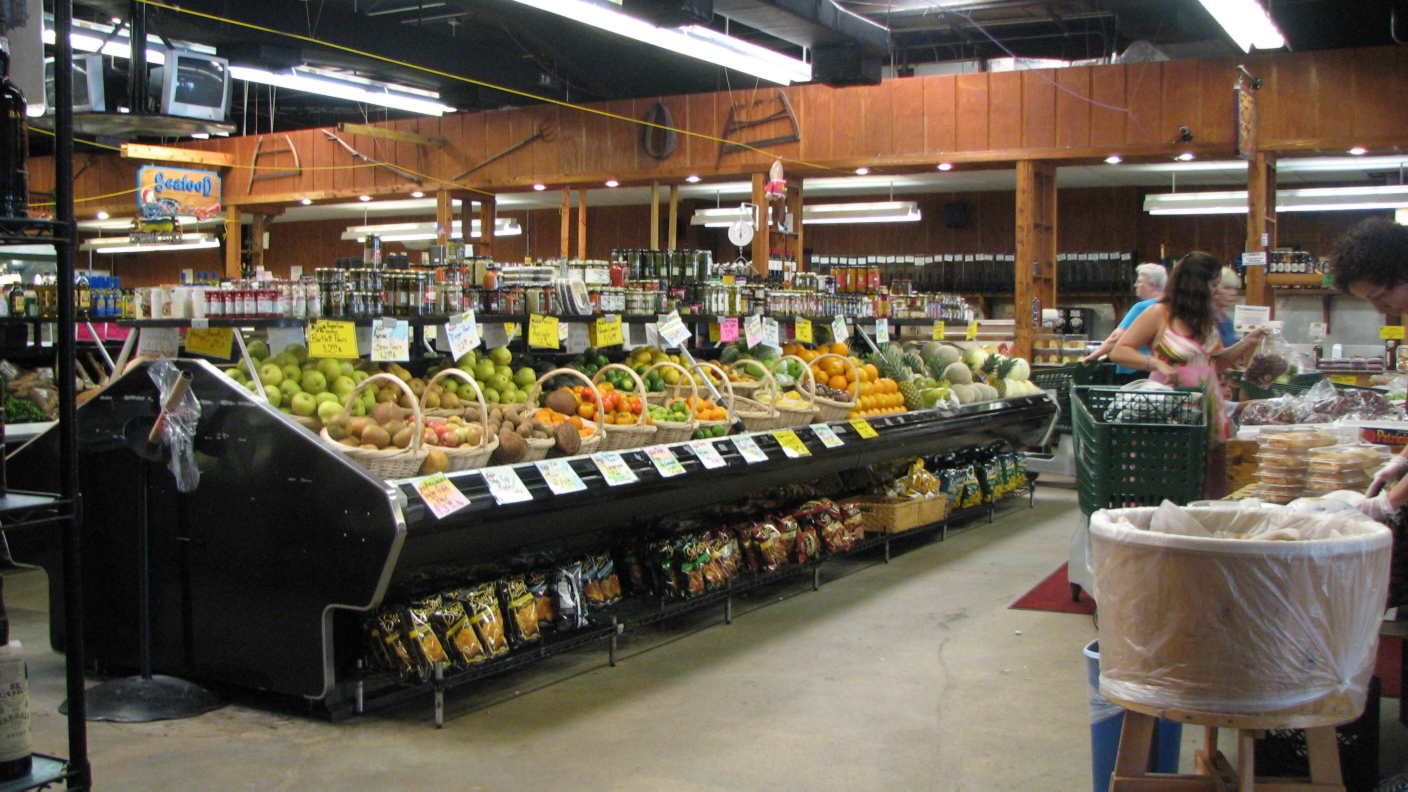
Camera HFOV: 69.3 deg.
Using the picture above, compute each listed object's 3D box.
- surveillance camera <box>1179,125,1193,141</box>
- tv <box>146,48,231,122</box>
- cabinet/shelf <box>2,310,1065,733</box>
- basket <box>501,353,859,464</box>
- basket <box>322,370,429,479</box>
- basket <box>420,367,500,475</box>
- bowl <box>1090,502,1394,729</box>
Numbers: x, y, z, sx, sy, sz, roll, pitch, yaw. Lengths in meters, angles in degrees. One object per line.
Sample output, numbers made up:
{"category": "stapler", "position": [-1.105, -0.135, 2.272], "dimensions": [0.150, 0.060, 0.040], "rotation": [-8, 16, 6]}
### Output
{"category": "surveillance camera", "position": [5.402, -2.933, 11.381], "dimensions": [0.150, 0.167, 0.057], "rotation": [4, 12, 20]}
{"category": "tv", "position": [-4.827, -2.777, 9.658], "dimensions": [0.709, 0.837, 0.362], "rotation": [1, 0, -18]}
{"category": "cabinet/shelf", "position": [-1.325, 0.571, 5.930], "dimensions": [4.497, 1.734, 1.754], "rotation": [-5, 13, -26]}
{"category": "basket", "position": [-0.293, 0.076, 6.257], "dimensions": [1.211, 0.262, 0.714], "rotation": [-8, 12, -37]}
{"category": "basket", "position": [-1.668, 0.193, 5.163], "dimensions": [0.366, 0.668, 0.449], "rotation": [2, 1, 41]}
{"category": "basket", "position": [-1.339, 0.153, 5.445], "dimensions": [0.354, 0.612, 0.371], "rotation": [2, 1, 1]}
{"category": "bowl", "position": [1.934, 0.780, 3.693], "dimensions": [1.037, 0.714, 0.450], "rotation": [0, 11, 0]}
